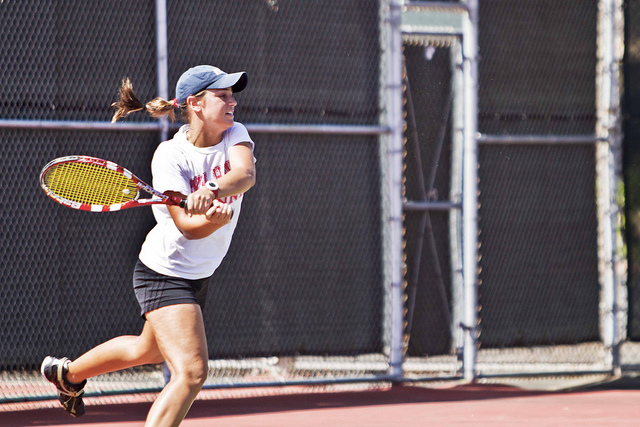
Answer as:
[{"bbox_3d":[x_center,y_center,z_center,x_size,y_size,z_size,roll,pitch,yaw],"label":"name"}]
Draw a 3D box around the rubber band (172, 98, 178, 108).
[{"bbox_3d":[-1.113,-0.845,9.383,0.060,0.066,0.051,5,-8,-7],"label":"rubber band"}]
